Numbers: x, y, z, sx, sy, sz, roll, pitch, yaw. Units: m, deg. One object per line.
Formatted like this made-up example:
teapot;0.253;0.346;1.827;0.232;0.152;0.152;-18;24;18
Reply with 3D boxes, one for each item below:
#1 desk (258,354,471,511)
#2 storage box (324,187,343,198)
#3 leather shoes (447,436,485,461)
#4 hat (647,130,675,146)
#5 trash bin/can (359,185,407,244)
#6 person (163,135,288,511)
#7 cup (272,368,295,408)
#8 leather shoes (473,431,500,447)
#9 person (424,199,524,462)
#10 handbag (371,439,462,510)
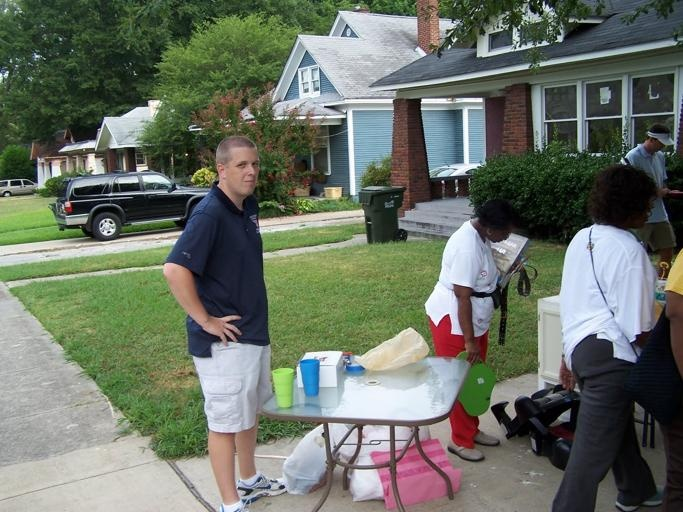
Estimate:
desk;0.250;1.318;4.083;1.209;0.931;1.159;1;13;20
storage box;-0.304;-2.816;25.741;0.586;0.371;0.597;2;3;40
leather shoes;1.006;1.549;4.627;0.224;0.085;0.125;2;9;27
hat;4.349;-1.609;7.831;0.233;0.116;0.303;-15;22;-41
trash bin/can;0.995;-1.003;13.966;0.954;1.406;0.789;-10;14;-24
person;-0.748;0.511;3.989;0.553;2.616;0.739;4;14;30
cup;-0.382;0.851;3.816;0.137;0.221;0.256;-5;12;-7
leather shoes;1.203;1.511;4.780;0.217;0.081;0.107;-2;9;12
person;1.100;0.612;4.784;0.789;2.178;0.792;3;13;25
handbag;0.535;1.579;4.161;0.441;0.151;0.446;-8;20;-12
